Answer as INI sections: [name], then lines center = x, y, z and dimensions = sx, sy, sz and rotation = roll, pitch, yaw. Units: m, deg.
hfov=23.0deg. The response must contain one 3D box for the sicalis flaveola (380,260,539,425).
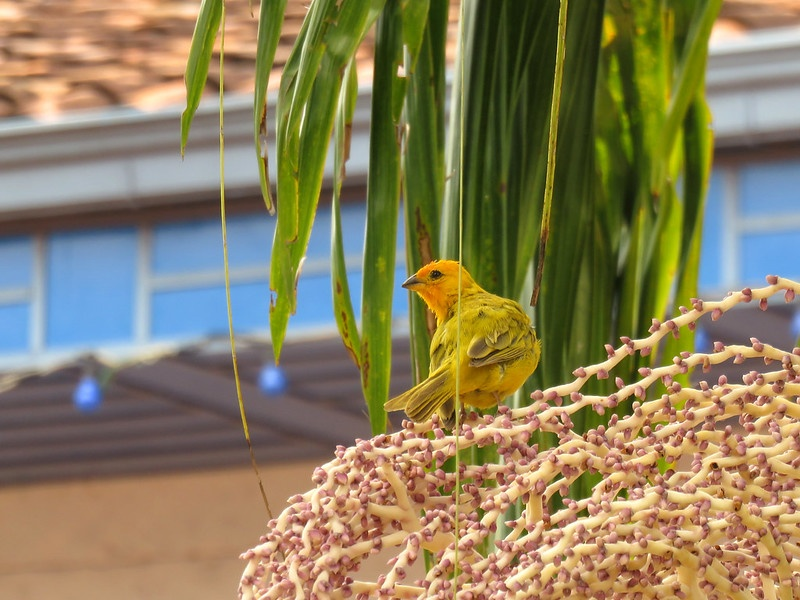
[sicalis flaveola]
center = 0.154, 0.104, 4.983
dimensions = 0.386, 0.451, 0.259
rotation = -11, -16, 11
